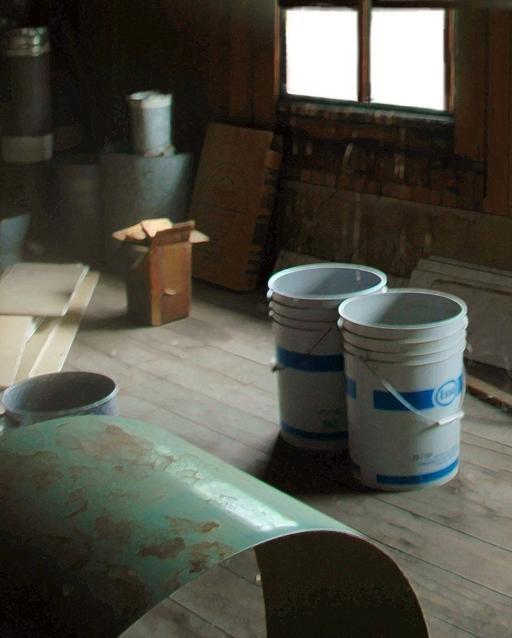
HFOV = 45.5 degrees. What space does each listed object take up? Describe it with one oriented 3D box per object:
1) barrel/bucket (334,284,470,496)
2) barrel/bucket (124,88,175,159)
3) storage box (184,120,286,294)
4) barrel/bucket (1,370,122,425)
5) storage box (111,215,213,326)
[{"bbox_3d":[0.535,0.274,2.319,0.479,0.726,0.428,10,19,26],"label":"barrel/bucket"},{"bbox_3d":[-0.838,-1.550,4.873,0.347,0.495,0.179,-1,18,-9],"label":"barrel/bucket"},{"bbox_3d":[-0.259,-0.868,4.793,0.903,0.975,1.197,13,9,11],"label":"storage box"},{"bbox_3d":[-0.725,0.306,2.239,0.394,0.149,0.329,4,15,10],"label":"barrel/bucket"},{"bbox_3d":[-0.638,-0.342,4.185,0.825,0.598,0.771,8,18,22],"label":"storage box"}]
